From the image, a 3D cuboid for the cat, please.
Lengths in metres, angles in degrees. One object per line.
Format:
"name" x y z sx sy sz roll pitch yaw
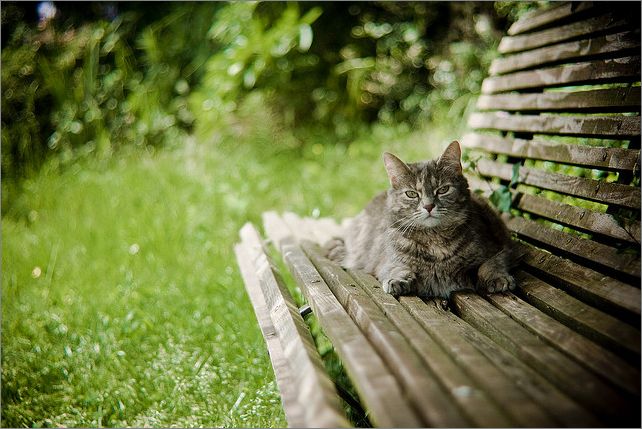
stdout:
"cat" 0.766 0.021 3.575 0.896 0.667 1.279 -4 5 -2
